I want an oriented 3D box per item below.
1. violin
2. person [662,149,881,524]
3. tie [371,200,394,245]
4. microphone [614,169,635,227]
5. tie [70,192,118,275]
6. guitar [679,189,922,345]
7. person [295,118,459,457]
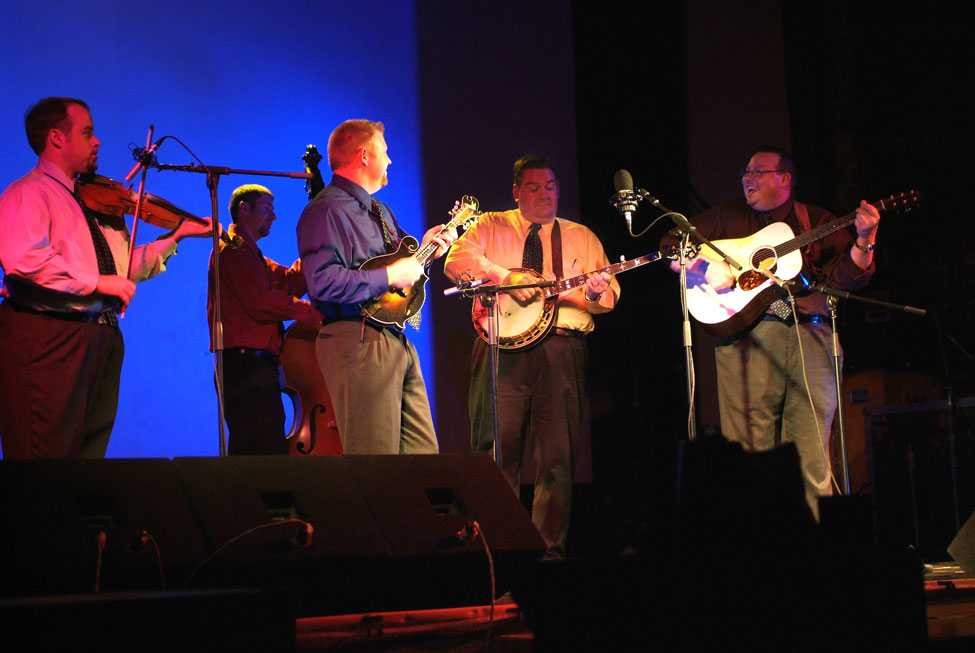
[{"bbox_3d":[-1.950,-0.647,5.745,0.639,0.103,0.228,16,19,-48],"label":"violin"},{"bbox_3d":[1.781,0.106,6.163,1.098,2.315,0.766,-6,18,18],"label":"person"},{"bbox_3d":[-0.563,-0.552,5.548,0.037,0.254,0.109,-24,-17,20],"label":"tie"},{"bbox_3d":[0.801,-0.756,5.966,0.126,0.308,0.260,-4,1,8],"label":"microphone"},{"bbox_3d":[-2.077,-0.476,5.494,0.067,0.474,0.197,-16,-5,11],"label":"tie"},{"bbox_3d":[1.704,-0.365,6.139,1.676,0.662,0.233,-26,-21,19],"label":"guitar"},{"bbox_3d":[-0.656,-0.222,5.455,0.647,1.761,0.398,-5,1,-14],"label":"person"}]
